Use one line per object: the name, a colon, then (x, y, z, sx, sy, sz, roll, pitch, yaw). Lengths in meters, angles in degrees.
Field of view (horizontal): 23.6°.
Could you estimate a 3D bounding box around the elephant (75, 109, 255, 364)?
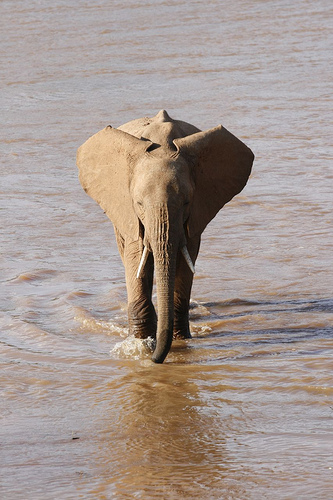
elephant: (-0.016, -0.168, 5.987, 1.209, 2.676, 1.527, 0, 100, 2)
